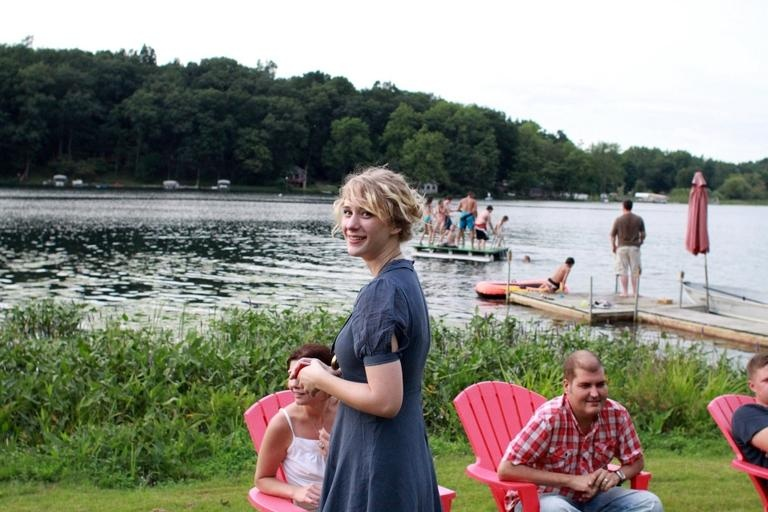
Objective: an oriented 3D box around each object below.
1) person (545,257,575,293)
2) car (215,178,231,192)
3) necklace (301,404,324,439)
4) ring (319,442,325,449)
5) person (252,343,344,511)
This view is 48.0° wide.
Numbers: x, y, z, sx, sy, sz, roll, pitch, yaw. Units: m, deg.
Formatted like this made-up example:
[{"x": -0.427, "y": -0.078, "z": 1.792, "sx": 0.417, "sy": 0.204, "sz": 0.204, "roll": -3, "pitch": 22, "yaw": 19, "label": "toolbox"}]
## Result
[{"x": 5.302, "y": 0.619, "z": 26.061, "sx": 0.454, "sy": 1.181, "sz": 0.372, "roll": 3, "pitch": 32, "yaw": -47, "label": "person"}, {"x": -19.269, "y": -8.235, "z": 101.689, "sx": 1.597, "sy": 1.742, "sz": 2.296, "roll": -2, "pitch": 3, "yaw": 11, "label": "car"}, {"x": -0.768, "y": 1.755, "z": 9.078, "sx": 0.218, "sy": 0.292, "sz": 0.361, "roll": 3, "pitch": -17, "yaw": -4, "label": "necklace"}, {"x": -0.664, "y": 2.002, "z": 9.074, "sx": 0.041, "sy": 0.040, "sz": 0.071, "roll": 19, "pitch": -3, "yaw": -13, "label": "ring"}, {"x": -0.963, "y": 1.842, "z": 9.583, "sx": 1.000, "sy": 1.461, "sz": 1.547, "roll": 2, "pitch": 9, "yaw": -5, "label": "person"}]
